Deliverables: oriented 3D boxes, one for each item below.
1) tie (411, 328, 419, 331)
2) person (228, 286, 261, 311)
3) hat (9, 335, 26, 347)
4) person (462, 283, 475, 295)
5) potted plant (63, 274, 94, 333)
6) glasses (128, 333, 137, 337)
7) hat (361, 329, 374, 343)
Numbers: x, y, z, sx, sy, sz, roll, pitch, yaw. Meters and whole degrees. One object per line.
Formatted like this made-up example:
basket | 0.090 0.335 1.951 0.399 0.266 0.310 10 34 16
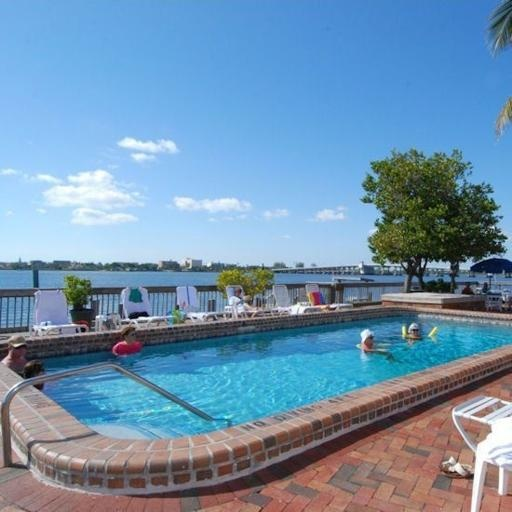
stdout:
tie | 4.241 1.959 10.989 0.164 0.074 0.076 2 -4 22
person | -0.494 1.444 13.331 1.025 0.997 0.664 -8 -5 19
hat | -3.494 1.235 6.006 0.221 0.113 0.164 -6 -11 31
person | 10.505 1.630 20.401 0.441 0.583 1.931 2 -4 26
potted plant | -4.343 1.114 10.011 0.728 0.951 1.207 5 -4 -21
glasses | -2.609 1.651 8.621 0.181 0.048 0.169 -1 -4 8
hat | 2.661 1.901 9.801 0.312 0.209 0.414 -16 -17 25
